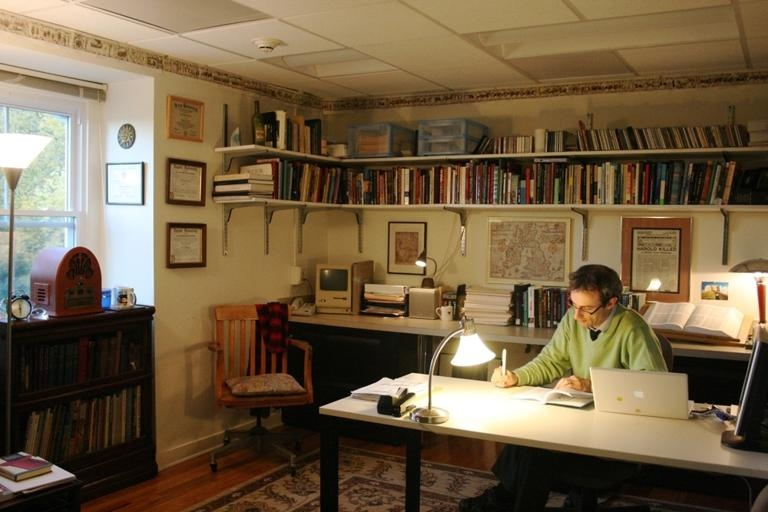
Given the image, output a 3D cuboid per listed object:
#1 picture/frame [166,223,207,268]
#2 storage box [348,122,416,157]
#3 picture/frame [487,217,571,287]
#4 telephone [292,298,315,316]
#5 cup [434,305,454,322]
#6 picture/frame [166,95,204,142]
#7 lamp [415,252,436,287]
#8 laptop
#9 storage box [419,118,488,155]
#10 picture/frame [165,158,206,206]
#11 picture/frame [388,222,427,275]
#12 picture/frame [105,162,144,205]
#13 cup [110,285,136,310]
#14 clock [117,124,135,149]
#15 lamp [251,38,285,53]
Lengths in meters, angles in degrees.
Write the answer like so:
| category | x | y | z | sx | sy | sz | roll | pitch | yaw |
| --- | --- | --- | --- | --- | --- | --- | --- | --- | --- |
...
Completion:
| category | x | y | z | sx | sy | sz | roll | pitch | yaw |
| --- | --- | --- | --- | --- | --- | --- | --- | --- | --- |
| picture/frame | -1.609 | -0.086 | 4.618 | 0.029 | 0.373 | 0.421 | -1 | -1 | 42 |
| storage box | -0.043 | -1.014 | 5.436 | 0.471 | 0.251 | 0.465 | 3 | 5 | 35 |
| picture/frame | 1.299 | -0.051 | 5.228 | 0.829 | 0.606 | 0.016 | 1 | 0 | -18 |
| telephone | -0.748 | 0.478 | 5.322 | 0.156 | 0.072 | 0.195 | 0 | 2 | 7 |
| cup | 0.531 | 0.511 | 5.045 | 0.171 | 0.126 | 0.103 | 1 | -1 | 24 |
| picture/frame | -1.604 | -1.094 | 4.616 | 0.035 | 0.327 | 0.366 | 10 | 10 | 28 |
| lamp | 0.392 | 0.119 | 5.397 | 0.195 | 0.328 | 0.441 | 0 | 3 | 3 |
| laptop | 1.472 | 0.747 | 3.249 | 0.518 | 0.282 | 0.388 | -3 | 3 | 36 |
| storage box | 0.729 | -1.079 | 5.337 | 0.599 | 0.316 | 0.580 | -6 | 11 | -39 |
| picture/frame | -1.612 | -0.594 | 4.601 | 0.037 | 0.400 | 0.459 | 0 | -1 | 40 |
| picture/frame | 0.223 | -0.073 | 5.667 | 0.435 | 0.503 | 0.020 | 3 | -5 | -28 |
| picture/frame | -2.067 | -0.574 | 4.583 | 0.436 | 0.338 | 0.034 | 3 | 5 | 28 |
| cup | -1.966 | 0.321 | 4.317 | 0.200 | 0.174 | 0.115 | -4 | 8 | -42 |
| clock | -2.049 | -0.952 | 4.564 | 0.237 | 0.206 | 0.021 | 0 | 3 | 33 |
| lamp | -0.849 | -1.527 | 4.158 | 0.116 | 0.036 | 0.111 | 1 | 4 | 26 |
